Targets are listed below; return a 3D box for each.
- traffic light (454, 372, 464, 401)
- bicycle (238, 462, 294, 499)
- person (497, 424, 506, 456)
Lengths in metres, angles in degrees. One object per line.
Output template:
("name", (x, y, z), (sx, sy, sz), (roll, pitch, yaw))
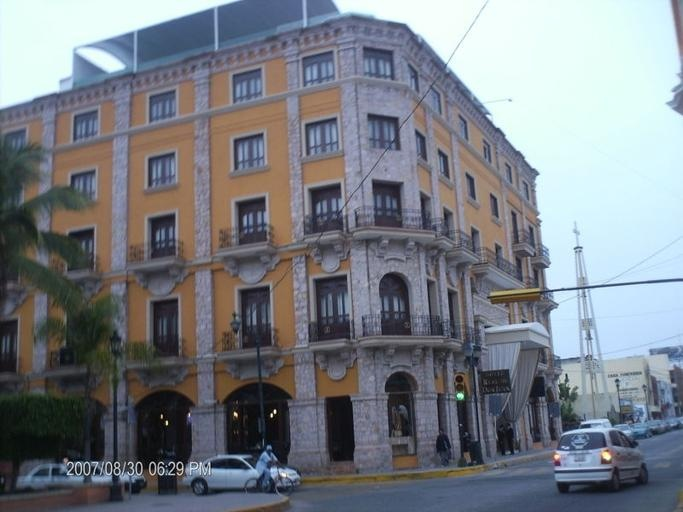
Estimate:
("traffic light", (6.097, 6.686, 35.040), (0.480, 1.364, 1.010), (-6, -17, 5))
("bicycle", (-3.214, 9.459, 28.476), (2.246, 1.470, 1.156), (-16, -23, 16))
("person", (10.513, 12.030, 44.671), (0.572, 1.902, 1.589), (-8, -18, 12))
